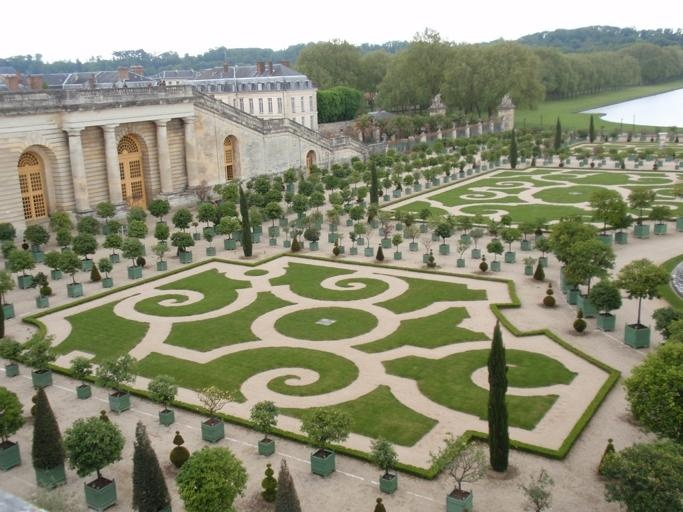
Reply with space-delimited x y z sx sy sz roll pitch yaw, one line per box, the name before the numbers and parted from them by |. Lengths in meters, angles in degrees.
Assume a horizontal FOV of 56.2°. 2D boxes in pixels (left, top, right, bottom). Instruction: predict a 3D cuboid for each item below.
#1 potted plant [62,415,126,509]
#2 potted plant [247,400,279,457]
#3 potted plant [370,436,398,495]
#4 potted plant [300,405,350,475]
potted plant | -10.746 9.065 27.936 1.969 3.426 1.767 3 16 23
potted plant | -3.677 8.143 30.514 1.122 2.568 1.572 -7 15 -12
potted plant | 1.883 9.169 28.065 1.019 2.144 1.205 -3 15 4
potted plant | -0.791 8.378 29.632 2.023 2.687 2.241 -5 15 -5
